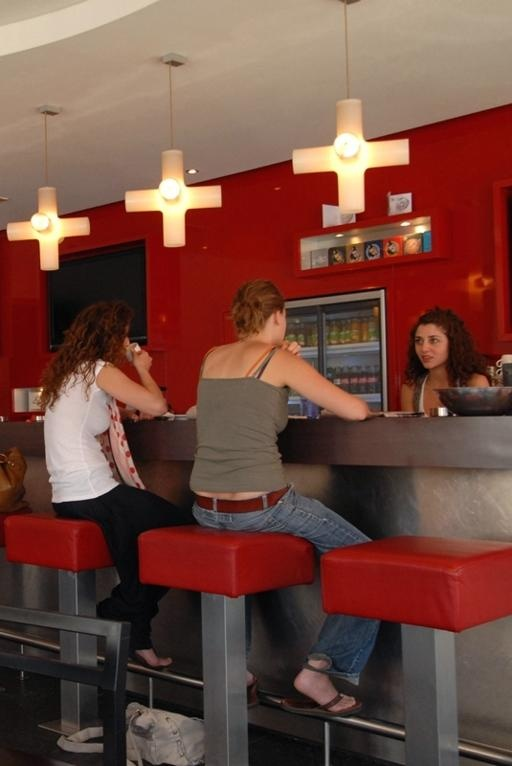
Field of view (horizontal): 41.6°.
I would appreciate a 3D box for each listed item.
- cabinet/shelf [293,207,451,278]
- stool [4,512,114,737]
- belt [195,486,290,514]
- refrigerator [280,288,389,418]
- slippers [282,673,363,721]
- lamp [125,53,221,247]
[{"bbox_3d":[0.719,-0.856,4.358,0.951,0.274,0.230,-8,12,5],"label":"cabinet/shelf"},{"bbox_3d":[-0.632,0.801,2.183,0.307,0.733,0.448,-3,0,-20],"label":"stool"},{"bbox_3d":[-0.050,0.305,1.746,0.260,0.062,0.074,-2,0,24],"label":"belt"},{"bbox_3d":[0.473,-0.045,4.492,0.772,1.213,0.389,-5,-45,10],"label":"refrigerator"},{"bbox_3d":[0.158,0.878,1.879,0.257,0.074,0.134,-3,-4,24],"label":"slippers"},{"bbox_3d":[-0.497,-1.095,3.763,0.451,0.898,1.381,-3,0,-10],"label":"lamp"}]
